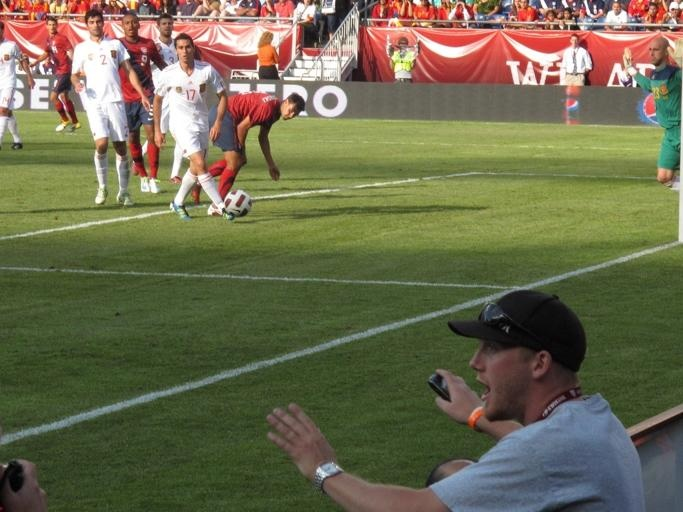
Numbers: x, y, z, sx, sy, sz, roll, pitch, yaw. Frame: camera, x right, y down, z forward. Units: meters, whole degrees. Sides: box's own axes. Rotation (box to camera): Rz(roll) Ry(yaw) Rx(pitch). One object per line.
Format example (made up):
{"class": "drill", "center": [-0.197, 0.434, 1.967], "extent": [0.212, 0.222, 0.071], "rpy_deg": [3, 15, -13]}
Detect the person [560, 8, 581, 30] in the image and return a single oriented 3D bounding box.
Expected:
{"class": "person", "center": [7.111, -7.387, 29.569], "extent": [0.533, 0.670, 2.319], "rpy_deg": [2, 13, 12]}

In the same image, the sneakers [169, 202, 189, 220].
{"class": "sneakers", "center": [-1.997, -0.550, 11.621], "extent": [0.108, 0.237, 0.087], "rpy_deg": [-22, 40, 23]}

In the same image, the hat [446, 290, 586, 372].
{"class": "hat", "center": [0.654, 0.258, 3.489], "extent": [0.516, 0.270, 0.357], "rpy_deg": [6, 0, 10]}

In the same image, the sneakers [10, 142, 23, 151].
{"class": "sneakers", "center": [-6.689, -2.250, 19.376], "extent": [0.416, 0.157, 0.137], "rpy_deg": [1, 2, -18]}

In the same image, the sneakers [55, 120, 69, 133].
{"class": "sneakers", "center": [-6.914, -3.220, 23.500], "extent": [0.408, 0.098, 0.254], "rpy_deg": [-25, 28, 32]}

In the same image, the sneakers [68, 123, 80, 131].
{"class": "sneakers", "center": [-6.844, -3.321, 24.270], "extent": [0.176, 0.132, 0.331], "rpy_deg": [-33, 6, -38]}

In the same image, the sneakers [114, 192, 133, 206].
{"class": "sneakers", "center": [-2.902, -0.779, 12.650], "extent": [0.179, 0.115, 0.351], "rpy_deg": [-18, 19, -27]}

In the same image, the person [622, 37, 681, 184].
{"class": "person", "center": [4.242, -1.846, 12.592], "extent": [0.735, 2.070, 1.539], "rpy_deg": [1, 12, 8]}

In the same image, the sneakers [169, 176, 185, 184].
{"class": "sneakers", "center": [-2.522, -1.180, 14.446], "extent": [0.136, 0.101, 0.234], "rpy_deg": [-2, -2, -25]}

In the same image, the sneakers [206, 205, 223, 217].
{"class": "sneakers", "center": [-1.564, -0.552, 11.573], "extent": [0.116, 0.091, 0.249], "rpy_deg": [-13, 7, -4]}

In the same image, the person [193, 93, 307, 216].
{"class": "person", "center": [-1.114, -1.220, 11.480], "extent": [0.909, 1.476, 1.429], "rpy_deg": [-9, 15, -34]}

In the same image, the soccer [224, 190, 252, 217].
{"class": "soccer", "center": [-1.239, -0.624, 11.223], "extent": [0.315, 0.301, 0.307], "rpy_deg": [10, 27, -15]}

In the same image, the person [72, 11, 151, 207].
{"class": "person", "center": [-3.077, -1.978, 12.461], "extent": [0.898, 2.576, 1.009], "rpy_deg": [3, 7, 39]}

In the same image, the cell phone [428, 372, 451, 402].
{"class": "cell phone", "center": [0.421, 0.567, 4.157], "extent": [0.067, 0.134, 0.032], "rpy_deg": [-33, -8, -32]}

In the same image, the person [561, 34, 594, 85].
{"class": "person", "center": [6.756, -5.699, 27.425], "extent": [0.916, 1.419, 0.773], "rpy_deg": [5, 14, 26]}

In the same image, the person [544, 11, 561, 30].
{"class": "person", "center": [6.495, -7.279, 29.409], "extent": [0.571, 0.751, 0.271], "rpy_deg": [0, -15, 3]}

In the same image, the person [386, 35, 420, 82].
{"class": "person", "center": [1.932, -6.132, 29.831], "extent": [0.900, 1.583, 0.454], "rpy_deg": [8, 54, 9]}

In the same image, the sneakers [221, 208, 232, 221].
{"class": "sneakers", "center": [-1.359, -0.503, 11.230], "extent": [0.134, 0.137, 0.109], "rpy_deg": [5, 1, 42]}
